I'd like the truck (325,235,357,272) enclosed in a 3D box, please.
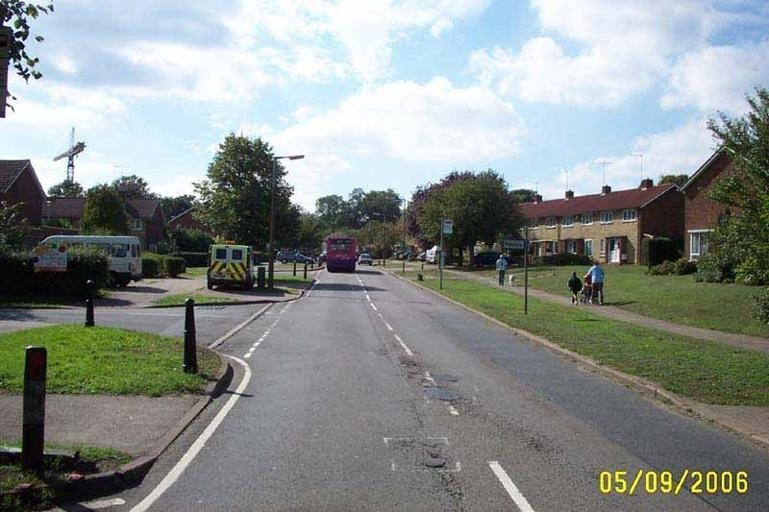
[{"bbox_3d":[-3.899,-0.254,58.539,2.056,2.360,3.652,0,-1,-4],"label":"truck"}]
